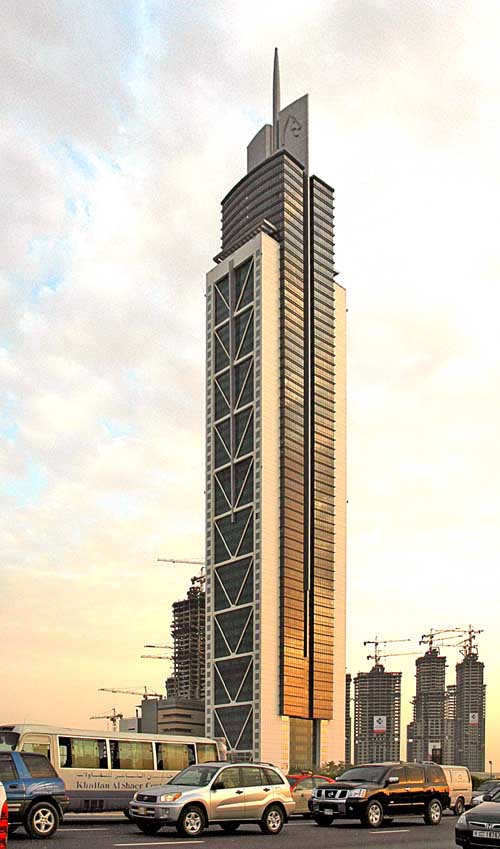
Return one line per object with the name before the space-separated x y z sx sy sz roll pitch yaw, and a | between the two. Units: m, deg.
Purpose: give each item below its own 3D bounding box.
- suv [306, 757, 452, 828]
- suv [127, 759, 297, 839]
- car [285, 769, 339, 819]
suv | 3.994 11.229 42.066 3.726 1.669 2.050 25 -39 -37
suv | -0.919 10.034 37.313 1.303 1.979 4.843 -14 -22 41
car | 2.051 13.375 49.273 1.694 1.642 3.151 1 -9 -1
